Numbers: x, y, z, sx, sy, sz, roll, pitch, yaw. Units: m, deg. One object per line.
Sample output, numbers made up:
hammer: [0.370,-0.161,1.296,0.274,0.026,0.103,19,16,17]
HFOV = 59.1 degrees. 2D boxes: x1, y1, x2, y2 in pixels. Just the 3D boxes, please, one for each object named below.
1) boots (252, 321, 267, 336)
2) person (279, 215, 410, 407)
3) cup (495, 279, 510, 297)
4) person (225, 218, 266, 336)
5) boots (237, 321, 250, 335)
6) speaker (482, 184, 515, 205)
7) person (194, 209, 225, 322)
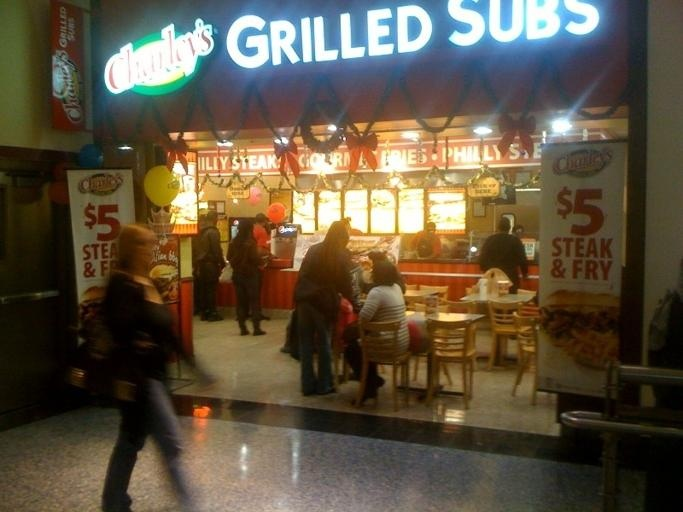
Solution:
boots: [-1.347,1.196,10.229,0.140,0.296,0.294,8,13,33]
person: [-0.067,0.560,7.077,0.925,2.509,0.741,0,0,-36]
cup: [2.290,0.440,8.552,0.181,0.210,0.188,0,1,0]
person: [-1.600,0.346,10.186,0.599,1.941,0.463,3,8,25]
boots: [-1.647,1.182,10.241,0.173,0.252,0.357,-2,8,-9]
speaker: [3.652,-1.354,13.637,0.725,0.497,0.755,0,6,4]
person: [-2.497,0.189,11.247,0.529,2.409,0.466,5,8,36]
